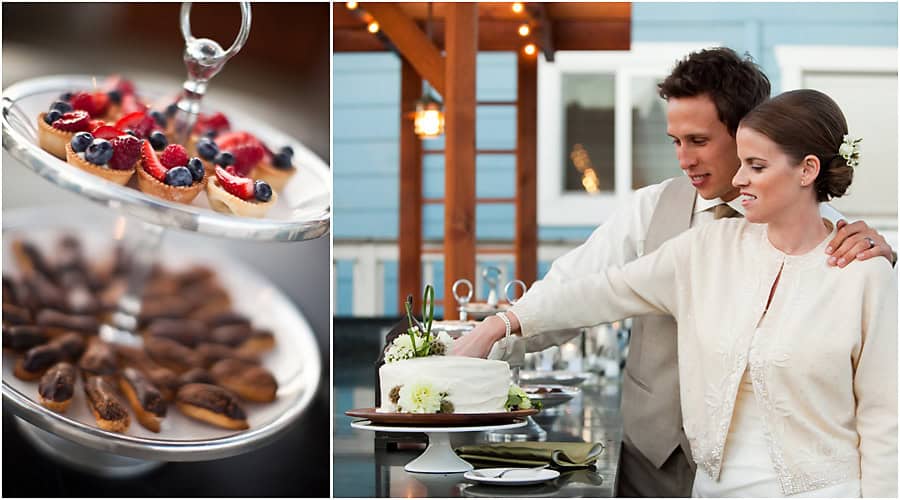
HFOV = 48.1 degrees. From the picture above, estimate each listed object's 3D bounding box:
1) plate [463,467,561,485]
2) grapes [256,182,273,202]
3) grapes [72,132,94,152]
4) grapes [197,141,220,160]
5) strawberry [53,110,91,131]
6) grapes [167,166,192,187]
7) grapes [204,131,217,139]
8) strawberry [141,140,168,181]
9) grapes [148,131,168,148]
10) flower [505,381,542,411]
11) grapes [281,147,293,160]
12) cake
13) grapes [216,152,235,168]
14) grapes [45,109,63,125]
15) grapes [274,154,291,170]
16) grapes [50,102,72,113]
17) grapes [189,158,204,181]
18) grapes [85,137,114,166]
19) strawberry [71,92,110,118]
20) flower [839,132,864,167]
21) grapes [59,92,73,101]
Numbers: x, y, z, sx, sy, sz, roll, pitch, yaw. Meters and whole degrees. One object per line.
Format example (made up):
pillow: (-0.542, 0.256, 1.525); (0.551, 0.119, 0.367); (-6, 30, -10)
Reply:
plate: (0.288, 1.058, 4.754); (0.445, 0.067, 0.216); (-3, 6, 1)
grapes: (-0.978, -0.301, 5.338); (0.078, 0.101, 0.079); (-24, 10, -17)
grapes: (-1.876, -0.548, 5.173); (0.074, 0.087, 0.073); (37, -6, -7)
grapes: (-1.303, -0.537, 5.462); (0.119, 0.107, 0.090); (-4, 6, -13)
strawberry: (-1.965, -0.663, 5.261); (0.158, 0.114, 0.142); (-2, 6, 7)
grapes: (-1.402, -0.378, 5.250); (0.136, 0.103, 0.053); (-5, 7, -19)
grapes: (-1.321, -0.638, 5.601); (0.061, 0.040, 0.031); (-5, 7, -18)
strawberry: (-1.541, -0.461, 5.272); (0.133, 0.210, 0.107); (-3, 7, -3)
grapes: (-1.553, -0.581, 5.391); (0.096, 0.107, 0.094); (1, 3, 0)
flower: (0.341, 0.743, 5.050); (0.149, 0.064, 0.142); (5, 4, -8)
grapes: (-0.914, -0.548, 5.713); (0.063, 0.057, 0.063); (0, 3, 7)
cake: (-0.026, 0.591, 5.039); (0.667, 0.467, 0.676); (7, 9, 42)
grapes: (-1.207, -0.485, 5.443); (0.088, 0.083, 0.112); (11, -27, -15)
grapes: (-2.063, -0.691, 5.259); (0.082, 0.047, 0.080); (4, 42, 12)
grapes: (-0.930, -0.486, 5.641); (0.091, 0.085, 0.089); (8, 3, 26)
grapes: (-2.047, -0.751, 5.338); (0.088, 0.049, 0.076); (3, 5, 25)
grapes: (-1.323, -0.420, 5.298); (0.040, 0.099, 0.102); (-8, -10, 16)
grapes: (-1.780, -0.501, 5.169); (0.130, 0.128, 0.073); (2, -2, 25)
strawberry: (-1.941, -0.795, 5.488); (0.167, 0.090, 0.161); (7, 34, -5)
flower: (1.860, -0.467, 4.747); (0.143, 0.137, 0.066); (-6, 11, -20)
grapes: (-2.072, -0.826, 5.470); (0.054, 0.021, 0.058); (-2, 2, -11)
